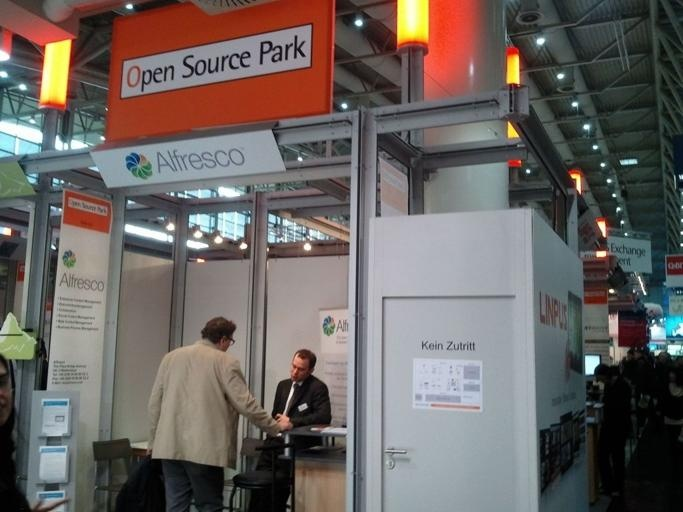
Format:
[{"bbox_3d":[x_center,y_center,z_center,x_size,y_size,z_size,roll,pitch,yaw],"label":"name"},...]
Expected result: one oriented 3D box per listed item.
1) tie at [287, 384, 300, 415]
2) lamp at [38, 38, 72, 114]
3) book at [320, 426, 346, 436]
[{"bbox_3d":[-0.499,1.488,6.241,0.148,0.233,0.214,11,4,-13],"label":"tie"},{"bbox_3d":[-3.248,-2.115,6.844,0.269,1.054,0.502,5,-11,-28],"label":"lamp"},{"bbox_3d":[-0.074,1.581,5.385,0.229,0.085,0.409,-1,-11,2],"label":"book"}]
